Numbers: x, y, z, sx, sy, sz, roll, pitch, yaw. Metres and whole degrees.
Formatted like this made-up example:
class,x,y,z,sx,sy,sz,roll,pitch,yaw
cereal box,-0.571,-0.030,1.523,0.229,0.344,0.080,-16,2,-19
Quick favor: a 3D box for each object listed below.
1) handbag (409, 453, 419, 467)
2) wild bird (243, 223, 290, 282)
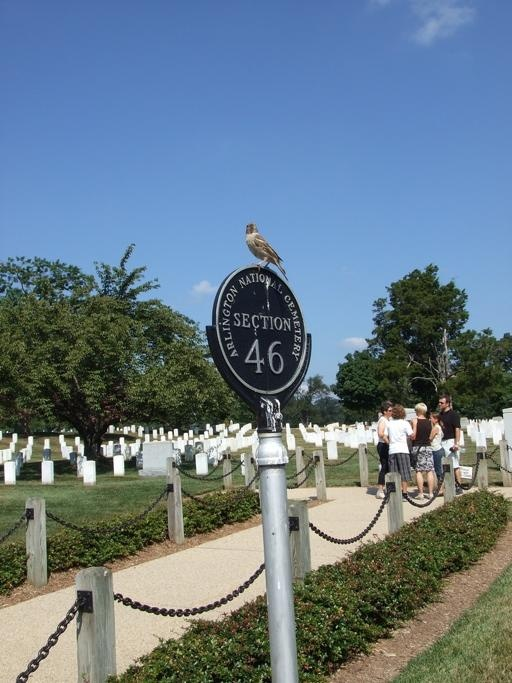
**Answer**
class,x,y,z,sx,sy,sz,roll,pitch,yaw
handbag,2.906,2.209,12.362,0.146,0.284,0.210,3,-5,-3
wild bird,0.031,-0.536,3.666,0.164,0.262,0.279,-4,-5,2
